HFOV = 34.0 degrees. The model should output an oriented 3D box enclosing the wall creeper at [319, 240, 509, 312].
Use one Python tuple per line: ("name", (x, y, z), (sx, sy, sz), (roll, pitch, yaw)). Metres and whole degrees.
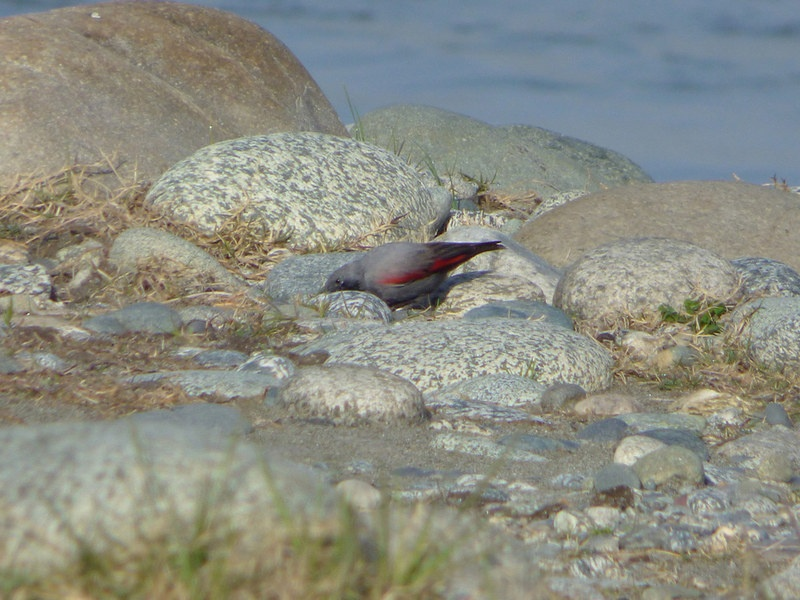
("wall creeper", (0.083, -0.198, 8.376), (1.339, 0.346, 0.391), (-15, 20, -23))
